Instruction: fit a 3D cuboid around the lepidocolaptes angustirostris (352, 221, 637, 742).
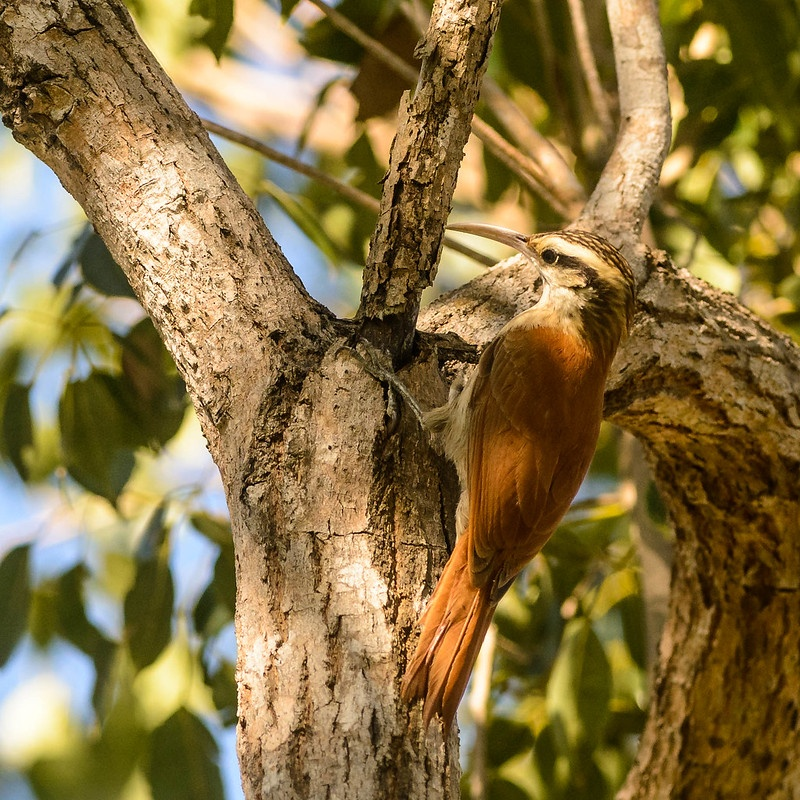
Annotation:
[{"bbox_3d":[0.239,0.113,3.598,0.437,1.063,0.946,12,4,21],"label":"lepidocolaptes angustirostris"}]
